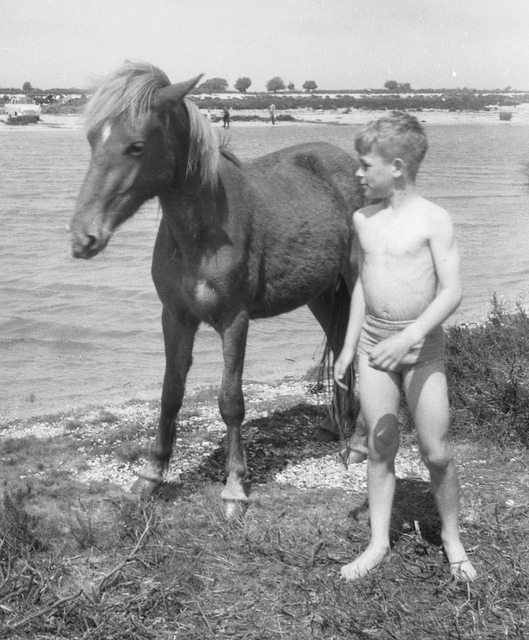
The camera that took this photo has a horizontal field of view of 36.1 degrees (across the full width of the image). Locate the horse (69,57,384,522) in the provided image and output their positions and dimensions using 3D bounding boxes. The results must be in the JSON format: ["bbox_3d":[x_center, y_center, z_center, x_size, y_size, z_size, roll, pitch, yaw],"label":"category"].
[{"bbox_3d":[-0.245,-0.196,5.102,0.677,2.620,2.470,3,7,35],"label":"horse"}]
